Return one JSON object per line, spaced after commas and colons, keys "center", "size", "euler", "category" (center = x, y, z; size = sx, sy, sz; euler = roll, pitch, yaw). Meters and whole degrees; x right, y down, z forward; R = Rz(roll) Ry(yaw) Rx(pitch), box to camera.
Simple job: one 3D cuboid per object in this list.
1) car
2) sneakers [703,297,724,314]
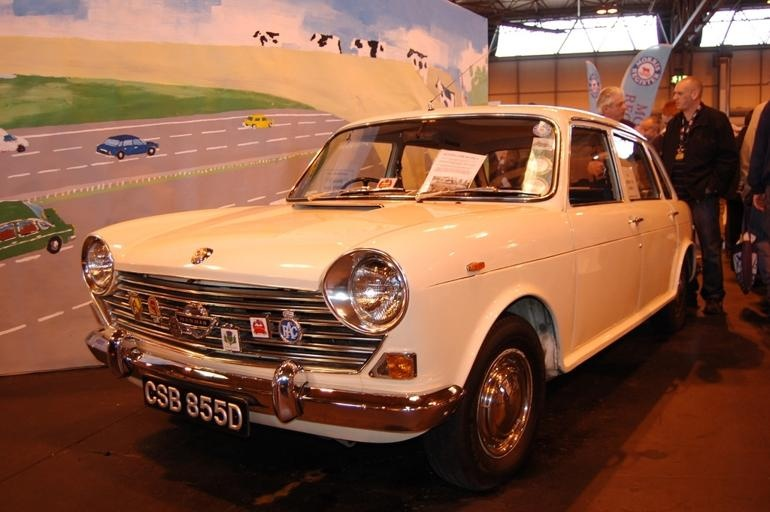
{"center": [0.742, 0.151, 3.262], "size": [2.146, 1.416, 4.014], "euler": [3, 5, 41], "category": "car"}
{"center": [3.670, 0.572, 4.987], "size": [0.122, 0.146, 0.338], "euler": [-4, -9, 37], "category": "sneakers"}
